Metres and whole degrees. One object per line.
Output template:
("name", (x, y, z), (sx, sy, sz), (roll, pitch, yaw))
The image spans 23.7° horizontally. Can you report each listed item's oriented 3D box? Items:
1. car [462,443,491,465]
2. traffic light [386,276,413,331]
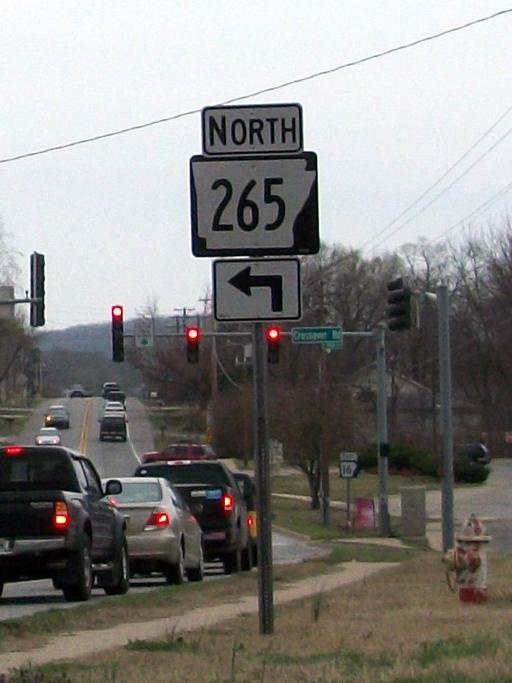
("car", (9.442, 4.892, 52.756), (1.059, 0.929, 3.338), (-3, -5, 11))
("traffic light", (2.392, -0.680, 20.893), (0.336, 0.401, 1.054), (-7, -31, 5))
